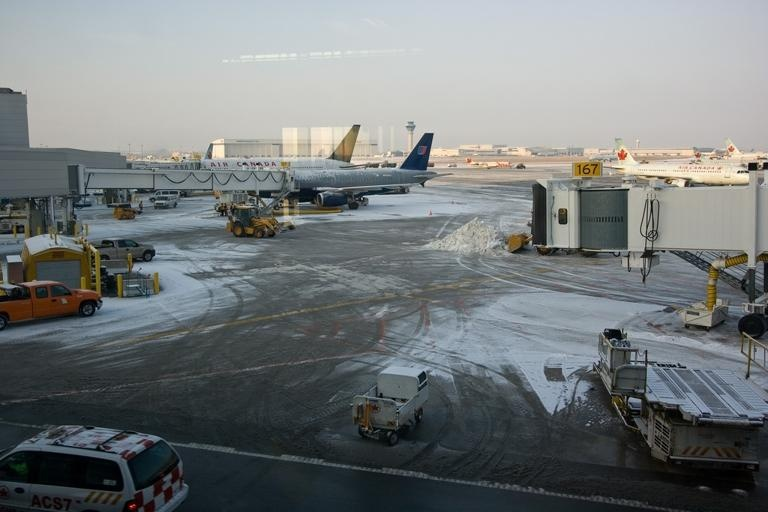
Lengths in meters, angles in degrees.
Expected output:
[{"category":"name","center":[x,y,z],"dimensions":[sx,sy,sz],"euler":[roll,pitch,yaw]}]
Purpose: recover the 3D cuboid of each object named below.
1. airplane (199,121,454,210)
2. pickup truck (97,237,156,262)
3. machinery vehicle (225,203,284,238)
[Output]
[{"category":"airplane","center":[-11.305,-12.483,88.623],"dimensions":[26.729,10.901,40.252],"euler":[-7,12,-37]},{"category":"pickup truck","center":[-18.148,-0.467,45.466],"dimensions":[3.645,1.061,1.628],"euler":[-5,11,-24]},{"category":"machinery vehicle","center":[-12.248,-3.281,59.405],"dimensions":[4.003,2.631,5.610],"euler":[-3,10,-16]}]
